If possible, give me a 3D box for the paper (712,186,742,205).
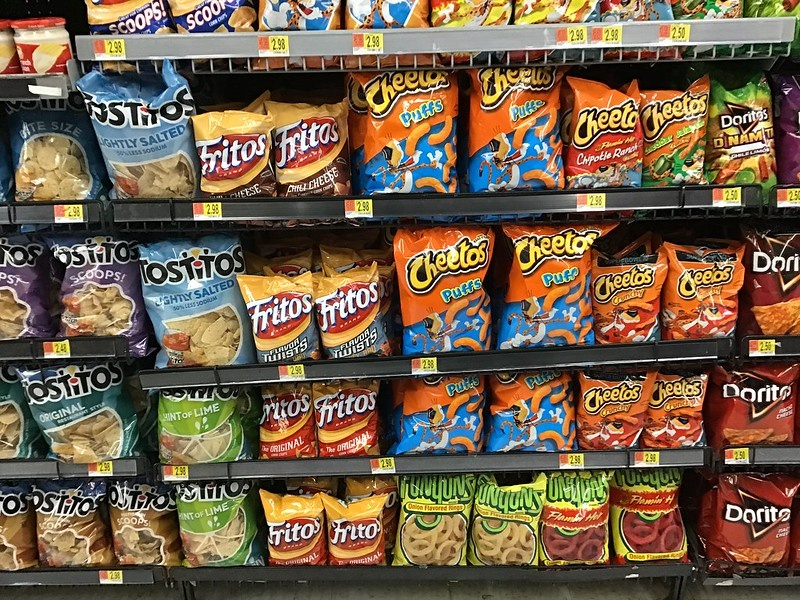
[{"bbox_3d":[1.152,-0.361,2.835,0.109,0.074,0.059,1,6,4],"label":"paper"}]

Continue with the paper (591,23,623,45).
[{"bbox_3d":[0.699,-0.895,2.714,0.116,0.084,0.064,1,15,6],"label":"paper"}]

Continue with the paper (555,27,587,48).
[{"bbox_3d":[0.578,-0.886,2.708,0.108,0.068,0.021,-9,16,-10],"label":"paper"}]

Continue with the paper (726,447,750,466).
[{"bbox_3d":[1.272,0.591,3.033,0.103,0.070,0.059,0,-1,4],"label":"paper"}]

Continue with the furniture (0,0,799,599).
[{"bbox_3d":[-0.004,-0.034,2.949,3.035,1.942,0.759,-2,7,0],"label":"furniture"}]

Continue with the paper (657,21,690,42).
[{"bbox_3d":[0.925,-0.899,2.715,0.105,0.076,0.059,1,16,1],"label":"paper"}]
